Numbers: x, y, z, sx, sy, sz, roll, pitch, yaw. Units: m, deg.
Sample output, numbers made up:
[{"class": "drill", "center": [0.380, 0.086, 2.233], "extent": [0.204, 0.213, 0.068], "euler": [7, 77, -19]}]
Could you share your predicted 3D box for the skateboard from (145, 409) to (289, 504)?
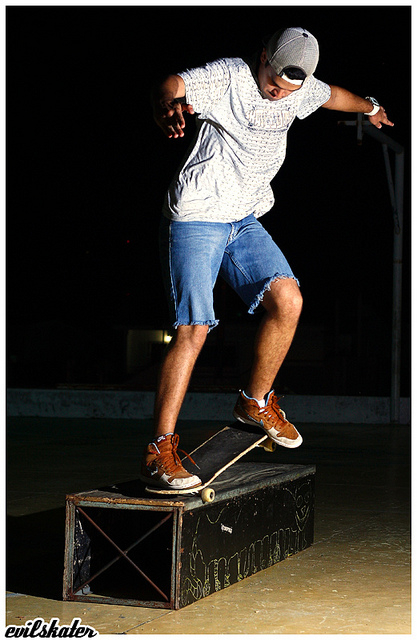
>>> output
[{"class": "skateboard", "center": [0.006, 0.508, 2.495], "extent": [0.189, 0.107, 0.738], "euler": [11, 23, 31]}]
